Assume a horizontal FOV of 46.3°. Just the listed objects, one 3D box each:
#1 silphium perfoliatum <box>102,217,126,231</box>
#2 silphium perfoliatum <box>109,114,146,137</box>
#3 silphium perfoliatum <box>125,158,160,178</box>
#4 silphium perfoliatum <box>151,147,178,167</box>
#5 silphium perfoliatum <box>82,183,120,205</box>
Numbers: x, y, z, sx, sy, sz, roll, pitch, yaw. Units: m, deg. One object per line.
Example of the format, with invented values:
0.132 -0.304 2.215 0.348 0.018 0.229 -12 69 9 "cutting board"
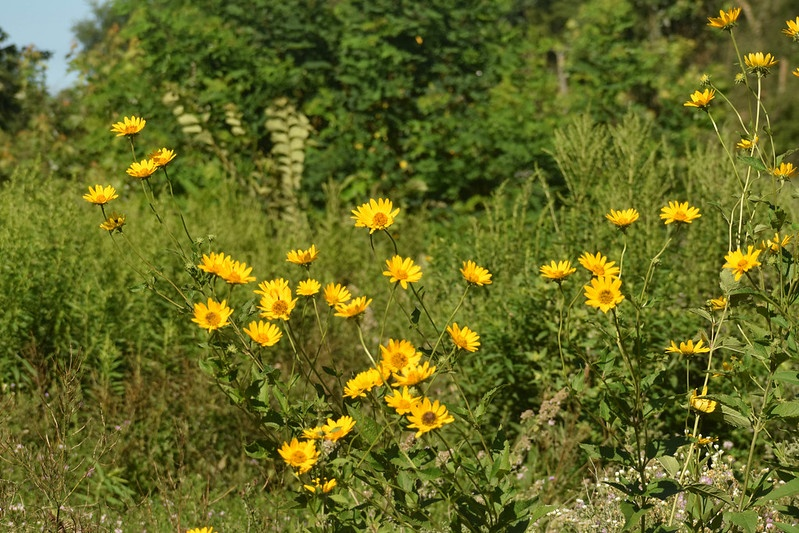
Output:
-1.911 -0.284 6.233 0.134 0.106 0.280 -11 2 -18 "silphium perfoliatum"
-1.848 -0.965 6.369 0.182 0.164 0.484 -11 1 -20 "silphium perfoliatum"
-1.716 -0.630 6.269 0.169 0.092 0.179 -29 49 -19 "silphium perfoliatum"
-1.585 -0.729 6.253 0.150 0.135 0.242 -10 2 -15 "silphium perfoliatum"
-2.020 -0.484 6.308 0.193 0.150 0.320 -11 2 -19 "silphium perfoliatum"
